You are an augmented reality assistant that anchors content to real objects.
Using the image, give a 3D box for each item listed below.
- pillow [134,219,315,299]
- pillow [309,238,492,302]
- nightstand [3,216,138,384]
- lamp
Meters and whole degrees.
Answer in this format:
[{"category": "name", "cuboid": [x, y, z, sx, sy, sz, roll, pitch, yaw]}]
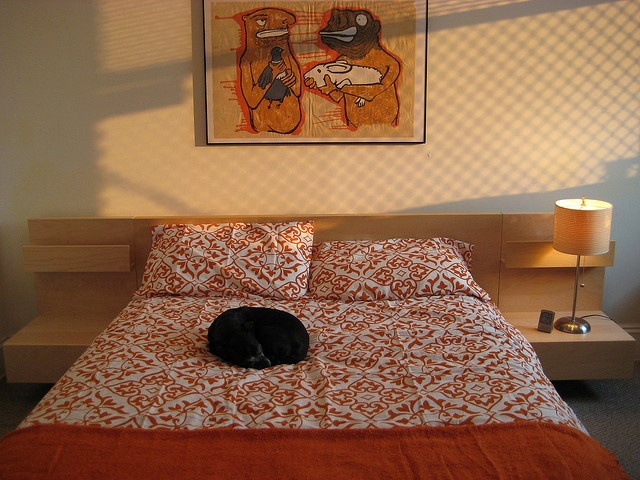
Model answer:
[{"category": "pillow", "cuboid": [-0.547, 0.114, 2.900, 0.962, 0.372, 0.428, 0, 12, 2]}, {"category": "pillow", "cuboid": [0.399, 0.164, 2.864, 0.954, 0.141, 0.541, -6, 43, 7]}, {"category": "nightstand", "cuboid": [-1.498, 0.359, 3.016, 0.684, 0.930, 0.466, -1, 14, -3]}, {"category": "lamp", "cuboid": [1.555, 0.142, 3.009, 0.316, 0.799, 0.421, 7, 16, 27]}]
